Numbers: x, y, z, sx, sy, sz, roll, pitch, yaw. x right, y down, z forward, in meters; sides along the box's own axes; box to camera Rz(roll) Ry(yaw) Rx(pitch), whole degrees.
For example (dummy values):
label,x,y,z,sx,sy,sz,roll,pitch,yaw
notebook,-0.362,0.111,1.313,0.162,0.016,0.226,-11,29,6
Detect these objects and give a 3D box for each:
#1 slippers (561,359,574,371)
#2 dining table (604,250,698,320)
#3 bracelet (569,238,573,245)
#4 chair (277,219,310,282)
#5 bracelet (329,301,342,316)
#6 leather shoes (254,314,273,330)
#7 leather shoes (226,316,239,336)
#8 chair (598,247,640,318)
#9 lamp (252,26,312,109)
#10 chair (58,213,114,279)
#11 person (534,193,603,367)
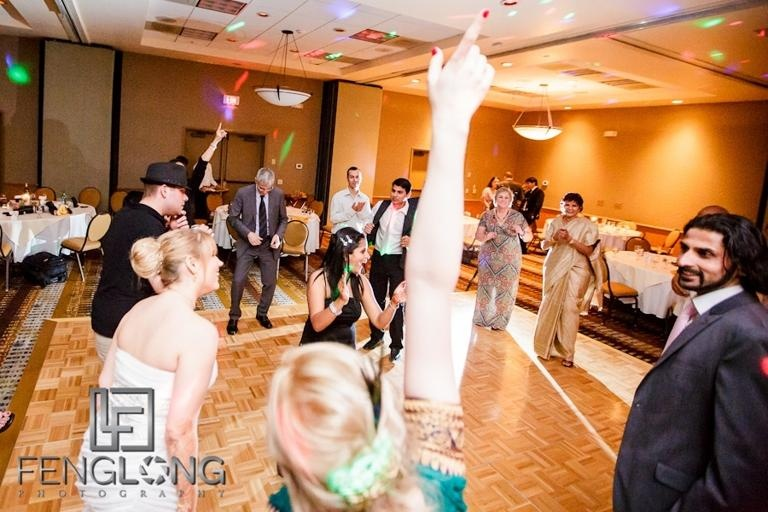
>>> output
label,x,y,z,sx,sy,sz,roll,pitch,yaw
slippers,2.086,1.238,5.138,0.136,0.081,0.077,5,23,-9
dining table,3.801,0.375,6.685,1.305,0.658,1.292,-4,13,-36
bracelet,2.071,-0.159,4.988,0.058,0.070,0.064,12,12,19
chair,-1.444,-0.122,7.310,0.586,0.849,0.574,9,8,4
bracelet,-0.322,0.350,3.005,0.084,0.044,0.092,19,23,-23
leather shoes,-1.464,0.776,5.491,0.274,0.113,0.101,29,25,37
leather shoes,-1.741,0.784,5.191,0.127,0.175,0.239,4,12,-18
chair,3.385,0.403,6.607,0.534,0.845,0.468,1,10,10
lamp,-1.693,-3.148,7.588,0.980,1.152,1.010,-5,21,-40
chair,-4.444,-0.196,6.663,0.633,0.928,0.515,10,13,7
person,2.066,0.260,5.167,0.631,1.908,0.380,14,13,24
